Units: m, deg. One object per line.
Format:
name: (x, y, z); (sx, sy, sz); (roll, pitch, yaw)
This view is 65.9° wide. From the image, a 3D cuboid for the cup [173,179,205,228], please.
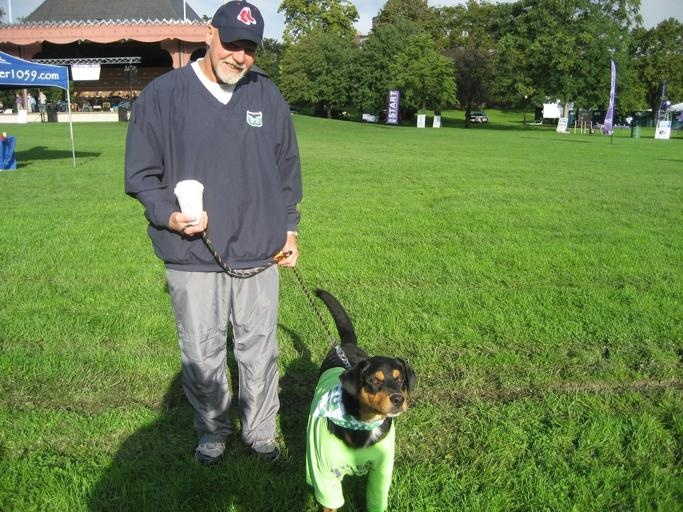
cup: (-0.994, -0.364, 3.625); (0.229, 0.282, 0.245); (-4, 11, 1)
